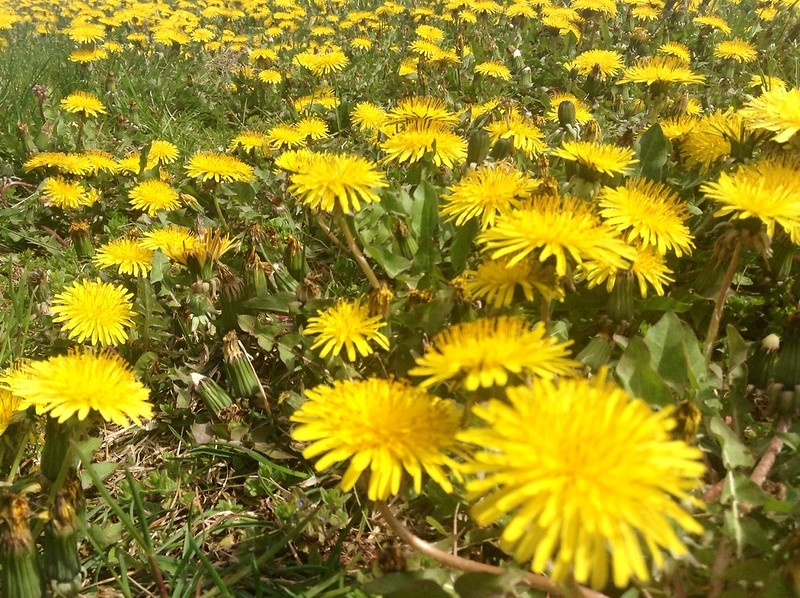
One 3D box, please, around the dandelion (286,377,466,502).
[{"bbox_3d":[-0.045,0.343,1.725,0.438,0.234,0.439,8,3,-24],"label":"dandelion"}]
